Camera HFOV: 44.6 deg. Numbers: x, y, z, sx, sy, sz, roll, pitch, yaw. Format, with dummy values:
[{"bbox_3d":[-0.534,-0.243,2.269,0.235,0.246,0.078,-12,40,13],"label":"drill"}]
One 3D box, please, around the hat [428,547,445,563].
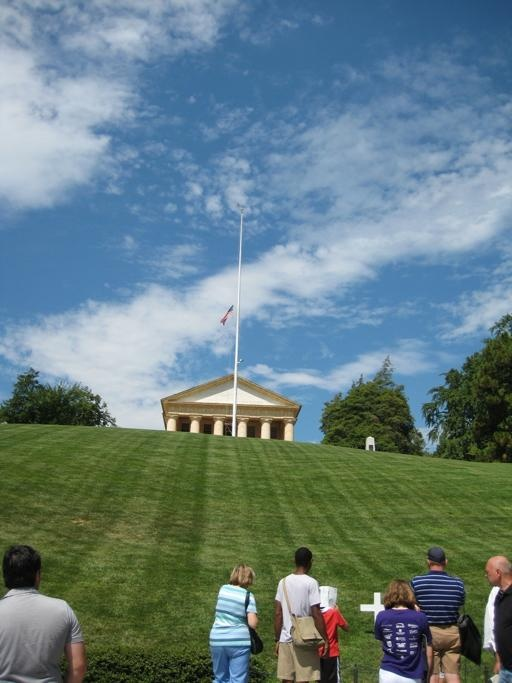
[{"bbox_3d":[2.009,2.405,7.037,0.166,0.136,0.224,1,1,4],"label":"hat"}]
